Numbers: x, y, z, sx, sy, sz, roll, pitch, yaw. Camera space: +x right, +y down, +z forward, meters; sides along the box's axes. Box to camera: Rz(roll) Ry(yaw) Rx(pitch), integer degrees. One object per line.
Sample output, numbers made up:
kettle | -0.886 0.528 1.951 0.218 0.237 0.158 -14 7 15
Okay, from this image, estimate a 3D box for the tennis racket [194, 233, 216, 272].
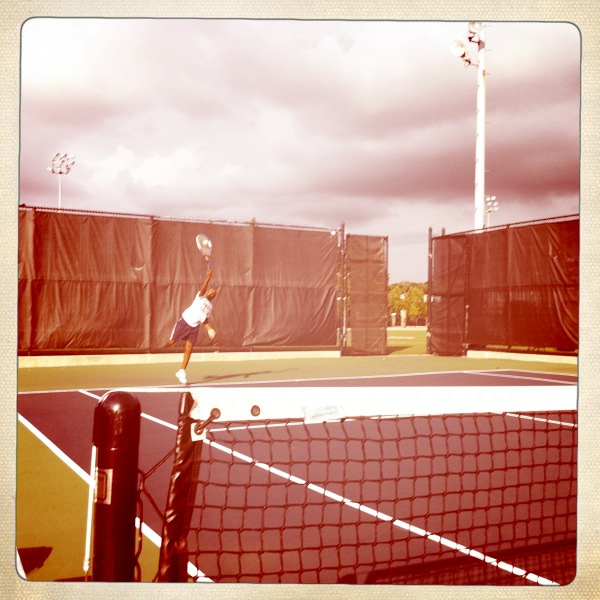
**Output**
tennis racket | -1.638 -0.795 13.873 0.408 0.820 0.364 6 11 42
